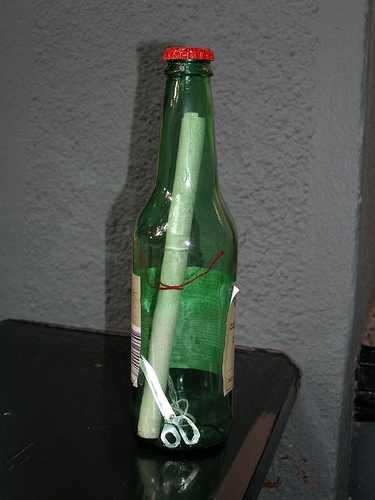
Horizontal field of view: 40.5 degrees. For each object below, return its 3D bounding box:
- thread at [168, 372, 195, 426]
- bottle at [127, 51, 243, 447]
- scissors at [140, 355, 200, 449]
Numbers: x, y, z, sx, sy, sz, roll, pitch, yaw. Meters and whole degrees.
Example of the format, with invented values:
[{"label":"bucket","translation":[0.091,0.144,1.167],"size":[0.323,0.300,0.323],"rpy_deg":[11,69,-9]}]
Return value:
[{"label":"thread","translation":[-0.004,0.093,0.319],"size":[0.011,0.036,0.003],"rpy_deg":[-23,-16,-14]},{"label":"bottle","translation":[-0.002,0.004,0.352],"size":[0.072,0.256,0.110],"rpy_deg":[2,7,-6]},{"label":"scissors","translation":[-0.010,0.096,0.314],"size":[0.038,0.054,0.014],"rpy_deg":[3,7,1]}]
